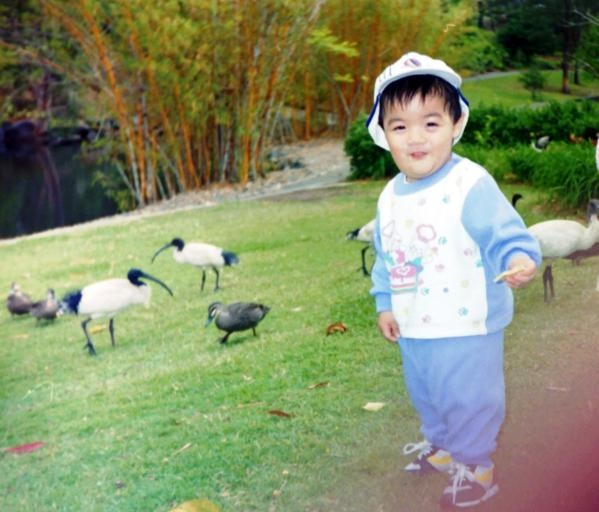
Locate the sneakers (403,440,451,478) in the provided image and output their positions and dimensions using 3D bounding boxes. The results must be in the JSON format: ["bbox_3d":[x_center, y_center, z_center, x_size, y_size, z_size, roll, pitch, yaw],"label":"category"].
[{"bbox_3d":[0.654,1.048,3.972,0.117,0.161,0.322,-45,15,-24],"label":"sneakers"}]

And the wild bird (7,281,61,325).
[{"bbox_3d":[-1.607,0.298,4.554,0.353,0.262,0.170,-2,5,-8],"label":"wild bird"}]

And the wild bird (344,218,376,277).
[{"bbox_3d":[0.440,-0.076,5.392,0.258,0.365,0.120,-3,-4,39],"label":"wild bird"}]

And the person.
[{"bbox_3d":[0.732,0.200,3.549,0.844,2.315,0.474,-4,11,26],"label":"person"}]

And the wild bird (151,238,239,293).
[{"bbox_3d":[-0.687,0.049,5.028,0.532,0.384,0.219,-9,11,5],"label":"wild bird"}]
